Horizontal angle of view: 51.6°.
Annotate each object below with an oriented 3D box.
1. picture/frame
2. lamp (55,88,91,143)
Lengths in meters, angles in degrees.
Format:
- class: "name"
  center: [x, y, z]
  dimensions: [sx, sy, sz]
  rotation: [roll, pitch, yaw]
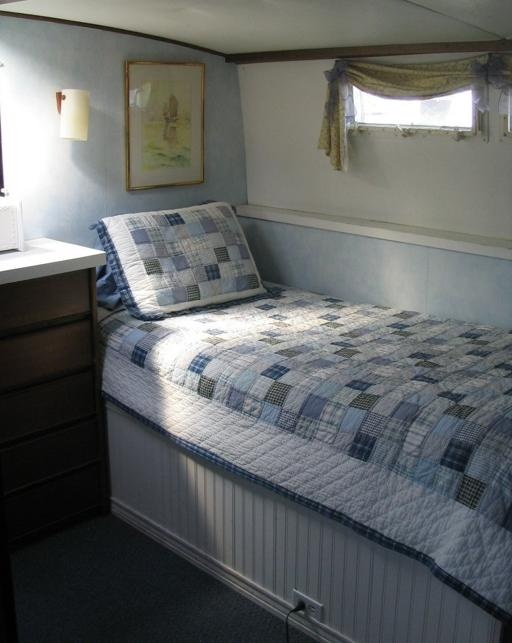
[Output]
- class: "picture/frame"
  center: [-0.468, -0.994, 2.623]
  dimensions: [0.626, 0.778, 0.053]
  rotation: [-14, 27, -37]
- class: "lamp"
  center: [-0.769, -0.883, 2.195]
  dimensions: [0.124, 0.130, 0.082]
  rotation: [11, 26, 2]
